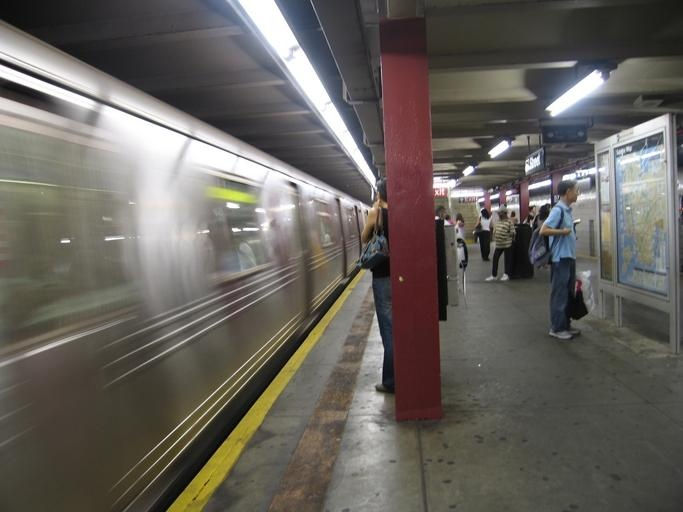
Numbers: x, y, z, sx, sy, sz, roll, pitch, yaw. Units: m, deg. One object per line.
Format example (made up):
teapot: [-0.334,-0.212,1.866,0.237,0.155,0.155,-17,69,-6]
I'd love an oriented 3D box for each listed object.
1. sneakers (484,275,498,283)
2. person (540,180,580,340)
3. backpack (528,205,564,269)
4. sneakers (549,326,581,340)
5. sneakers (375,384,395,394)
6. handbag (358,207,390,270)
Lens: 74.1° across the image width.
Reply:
sneakers: [3.740,0.595,11.315,0.360,0.182,0.141,-1,11,9]
person: [2.784,0.058,5.773,0.507,1.999,0.371,-9,10,-43]
backpack: [2.673,-0.180,5.884,0.352,0.771,0.500,1,-5,30]
sneakers: [2.854,0.995,5.836,0.397,0.214,0.161,-7,7,13]
sneakers: [0.419,1.310,4.419,0.072,0.091,0.186,-5,10,-44]
handbag: [0.343,-0.111,4.384,0.252,0.707,0.480,6,-13,8]
